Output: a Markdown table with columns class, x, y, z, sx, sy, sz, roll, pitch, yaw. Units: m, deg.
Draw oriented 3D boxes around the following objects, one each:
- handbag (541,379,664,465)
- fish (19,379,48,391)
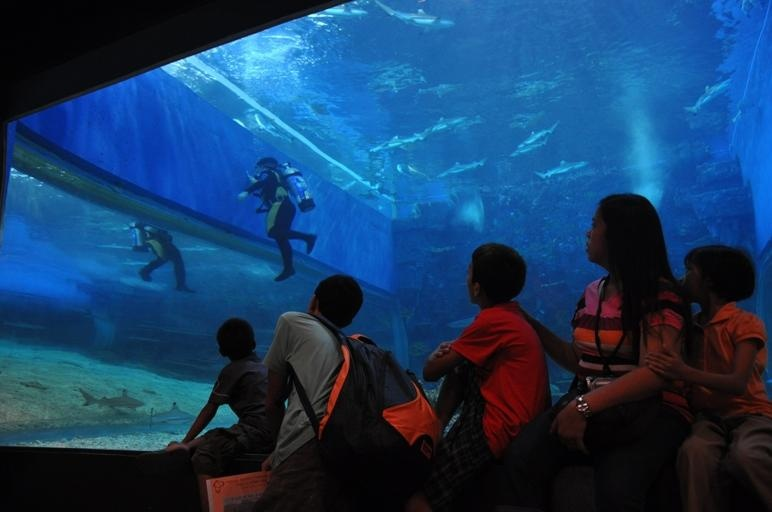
| class | x | y | z | sx | sy | sz | roll | pitch | yaw |
| --- | --- | --- | --- | --- | --- | --- | --- | --- | --- |
| handbag | 1.571 | 1.156 | 3.819 | 0.748 | 0.473 | 0.232 | -6 | -15 | 18 |
| fish | -8.343 | 3.051 | 12.571 | 0.333 | 0.078 | 0.304 | 14 | -4 | -7 |
